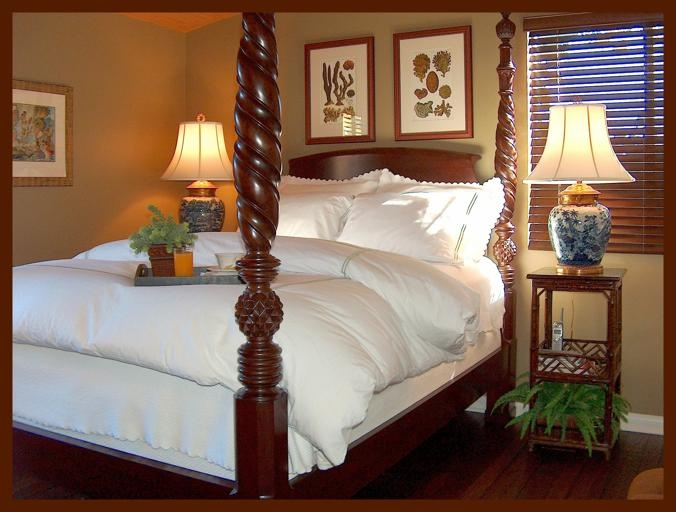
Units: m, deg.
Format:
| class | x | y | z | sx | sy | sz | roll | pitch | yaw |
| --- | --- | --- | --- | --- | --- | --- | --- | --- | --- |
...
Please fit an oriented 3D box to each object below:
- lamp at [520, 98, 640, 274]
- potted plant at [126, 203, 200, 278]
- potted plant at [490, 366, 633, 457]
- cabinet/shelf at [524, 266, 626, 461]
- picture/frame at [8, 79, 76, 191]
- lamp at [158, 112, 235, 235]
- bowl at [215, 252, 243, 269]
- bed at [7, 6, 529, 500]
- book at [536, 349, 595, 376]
| class | x | y | z | sx | sy | sz | roll | pitch | yaw |
| --- | --- | --- | --- | --- | --- | --- | --- | --- | --- |
| lamp | 1.311 | -0.380 | 2.932 | 0.530 | 0.951 | 0.414 | 2 | 4 | -5 |
| potted plant | -0.692 | -0.034 | 2.308 | 0.286 | 0.277 | 0.263 | 3 | -10 | 2 |
| potted plant | 1.277 | 0.920 | 3.013 | 0.687 | 0.354 | 0.714 | 0 | -14 | 26 |
| cabinet/shelf | 1.340 | 0.557 | 3.036 | 0.519 | 0.986 | 0.641 | 4 | 5 | 28 |
| picture/frame | -2.010 | -0.821 | 3.544 | 0.726 | 0.704 | 0.035 | 10 | 8 | 26 |
| lamp | -1.102 | -0.619 | 4.238 | 0.625 | 0.951 | 0.624 | 4 | 9 | 14 |
| bowl | -0.457 | 0.019 | 2.224 | 0.120 | 0.073 | 0.121 | 0 | -1 | 0 |
| bed | -0.375 | 0.208 | 2.466 | 1.709 | 1.643 | 1.781 | 1 | 1 | 31 |
| book | 1.266 | 0.555 | 2.895 | 0.197 | 0.063 | 0.199 | 3 | 3 | 43 |
